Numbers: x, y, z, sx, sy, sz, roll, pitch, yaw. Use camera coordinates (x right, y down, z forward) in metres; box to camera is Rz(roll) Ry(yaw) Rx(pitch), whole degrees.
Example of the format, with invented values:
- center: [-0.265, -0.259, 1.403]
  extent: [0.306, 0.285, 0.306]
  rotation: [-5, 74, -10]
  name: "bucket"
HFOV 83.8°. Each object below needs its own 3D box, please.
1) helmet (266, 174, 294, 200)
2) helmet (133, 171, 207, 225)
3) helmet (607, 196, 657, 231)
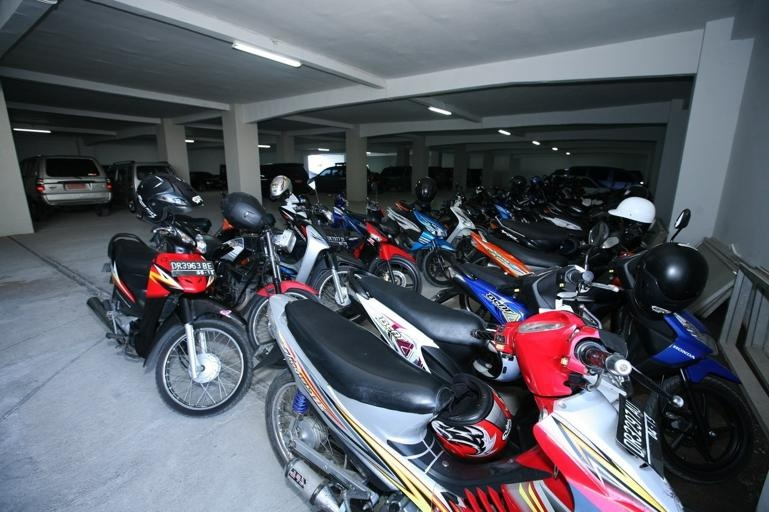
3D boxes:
- center: [-1.209, -0.826, 5.132]
  extent: [0.249, 0.264, 0.307]
  rotation: [-13, 15, 6]
  name: "helmet"
- center: [-2.072, -0.537, 3.965]
  extent: [0.725, 0.361, 0.404]
  rotation: [14, 30, -7]
  name: "helmet"
- center: [2.623, -0.461, 4.573]
  extent: [0.439, 0.205, 0.314]
  rotation: [26, 22, 27]
  name: "helmet"
